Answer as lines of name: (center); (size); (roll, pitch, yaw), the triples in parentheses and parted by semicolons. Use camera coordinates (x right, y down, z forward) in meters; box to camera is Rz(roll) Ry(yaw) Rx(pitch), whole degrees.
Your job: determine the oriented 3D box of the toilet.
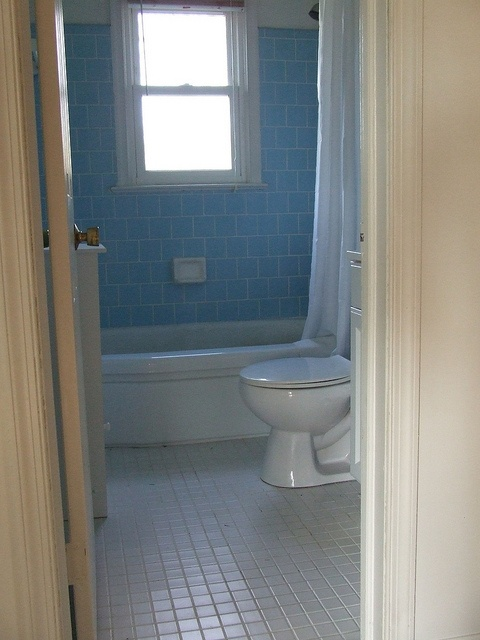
toilet: (0.254, 0.384, 2.390); (0.474, 0.408, 0.400); (-4, 7, -14)
